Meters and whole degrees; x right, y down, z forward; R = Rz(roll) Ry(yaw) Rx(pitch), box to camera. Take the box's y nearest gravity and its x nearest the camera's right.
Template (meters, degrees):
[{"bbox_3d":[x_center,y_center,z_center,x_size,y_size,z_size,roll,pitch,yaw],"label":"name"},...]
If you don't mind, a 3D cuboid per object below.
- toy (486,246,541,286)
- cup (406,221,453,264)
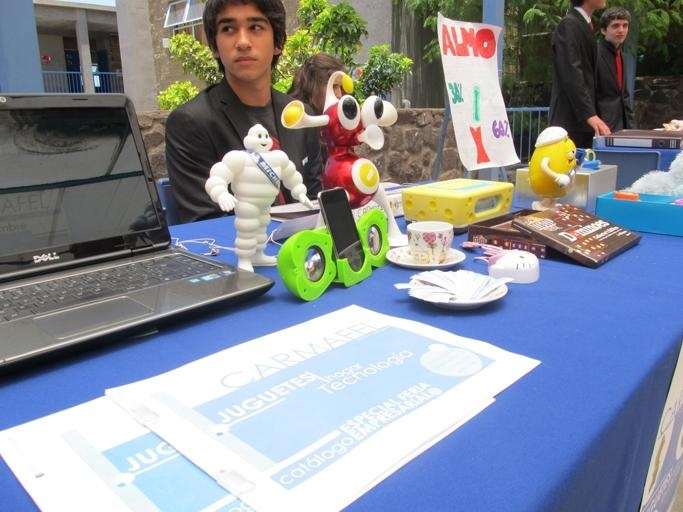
[{"bbox_3d":[0.330,0.017,0.910,0.067,0.038,0.071,-14,19,-36],"label":"toy"},{"bbox_3d":[0.169,-0.033,0.963,0.077,0.069,0.083,-3,10,1],"label":"cup"}]
